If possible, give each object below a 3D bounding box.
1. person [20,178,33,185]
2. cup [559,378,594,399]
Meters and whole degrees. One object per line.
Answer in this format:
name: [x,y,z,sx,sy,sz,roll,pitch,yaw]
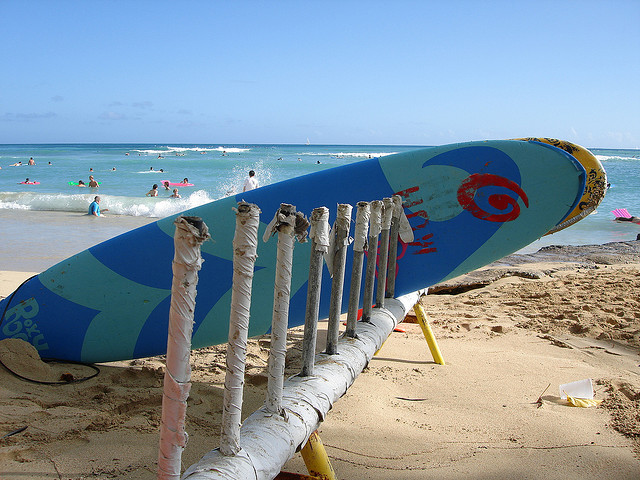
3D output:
person: [-13.345,-2.628,24.085,0.592,0.262,0.765,1,2,-28]
cup: [1.894,1.110,3.927,0.235,0.107,0.208,4,12,22]
